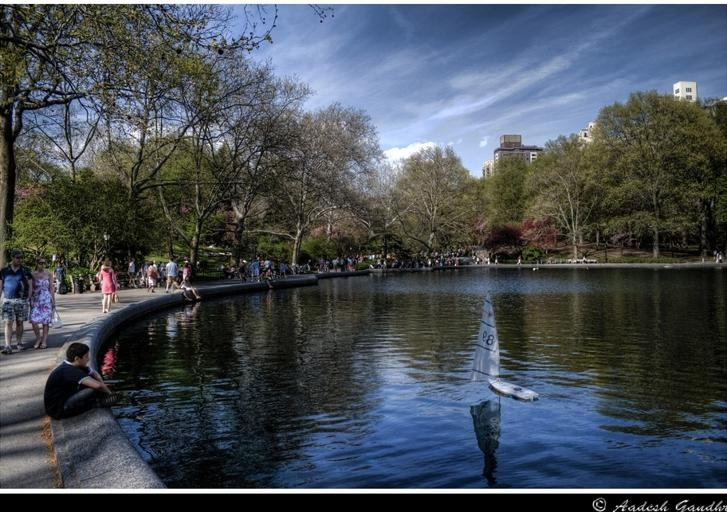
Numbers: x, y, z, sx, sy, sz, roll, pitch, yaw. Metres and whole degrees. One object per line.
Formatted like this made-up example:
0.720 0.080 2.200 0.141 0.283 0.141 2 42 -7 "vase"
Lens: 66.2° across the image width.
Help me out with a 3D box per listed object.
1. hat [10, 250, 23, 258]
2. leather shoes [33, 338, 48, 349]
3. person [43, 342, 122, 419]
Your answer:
-9.031 -0.056 14.461 0.224 0.205 0.192 0 4 42 "hat"
-9.150 2.477 15.768 0.217 0.231 0.620 6 -6 -35 "leather shoes"
-5.572 2.372 11.176 1.419 1.488 1.191 -1 4 -32 "person"
